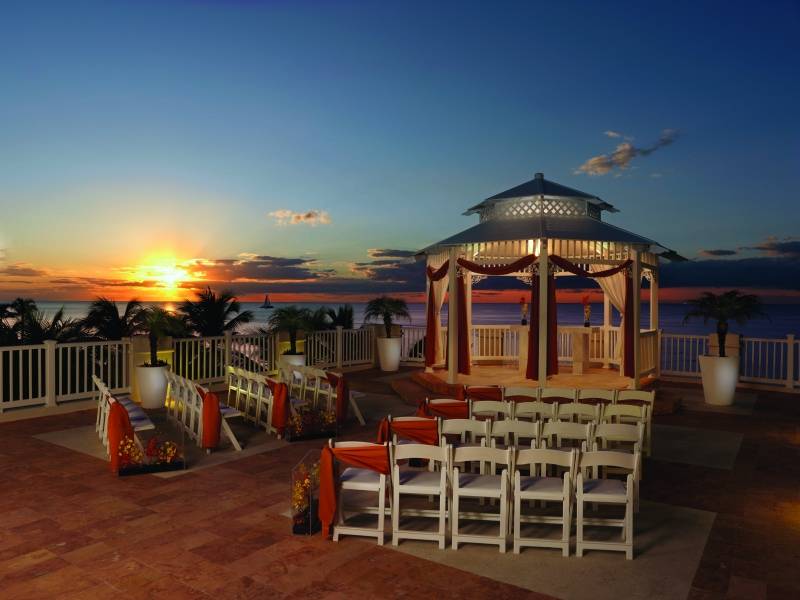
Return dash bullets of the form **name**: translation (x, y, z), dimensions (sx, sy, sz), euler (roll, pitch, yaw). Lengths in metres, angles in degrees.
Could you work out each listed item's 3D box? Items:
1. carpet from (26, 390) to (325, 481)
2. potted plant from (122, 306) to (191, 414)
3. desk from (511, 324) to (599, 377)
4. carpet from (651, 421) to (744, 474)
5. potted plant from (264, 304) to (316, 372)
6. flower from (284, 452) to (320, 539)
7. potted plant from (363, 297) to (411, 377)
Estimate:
- **carpet**: translation (-4.543, 2.608, 11.876), dimensions (4.727, 0.267, 2.731), euler (7, 12, 34)
- **potted plant**: translation (-5.799, 1.350, 14.291), dimensions (1.635, 1.962, 1.546), euler (-5, -10, 36)
- **desk**: translation (4.539, 1.371, 17.257), dimensions (2.052, 1.007, 1.904), euler (-2, 3, -30)
- **carpet**: translation (5.515, 2.752, 11.704), dimensions (1.534, 0.228, 2.420), euler (6, 11, 27)
- **potted plant**: translation (-3.065, 1.048, 17.506), dimensions (1.315, 1.381, 1.310), euler (2, 2, 17)
- **flower**: translation (-1.308, 2.601, 8.416), dimensions (0.375, 0.969, 0.505), euler (-2, 13, -9)
- **potted plant**: translation (-0.478, 1.133, 19.801), dimensions (1.361, 2.457, 1.609), euler (-1, 13, -5)
